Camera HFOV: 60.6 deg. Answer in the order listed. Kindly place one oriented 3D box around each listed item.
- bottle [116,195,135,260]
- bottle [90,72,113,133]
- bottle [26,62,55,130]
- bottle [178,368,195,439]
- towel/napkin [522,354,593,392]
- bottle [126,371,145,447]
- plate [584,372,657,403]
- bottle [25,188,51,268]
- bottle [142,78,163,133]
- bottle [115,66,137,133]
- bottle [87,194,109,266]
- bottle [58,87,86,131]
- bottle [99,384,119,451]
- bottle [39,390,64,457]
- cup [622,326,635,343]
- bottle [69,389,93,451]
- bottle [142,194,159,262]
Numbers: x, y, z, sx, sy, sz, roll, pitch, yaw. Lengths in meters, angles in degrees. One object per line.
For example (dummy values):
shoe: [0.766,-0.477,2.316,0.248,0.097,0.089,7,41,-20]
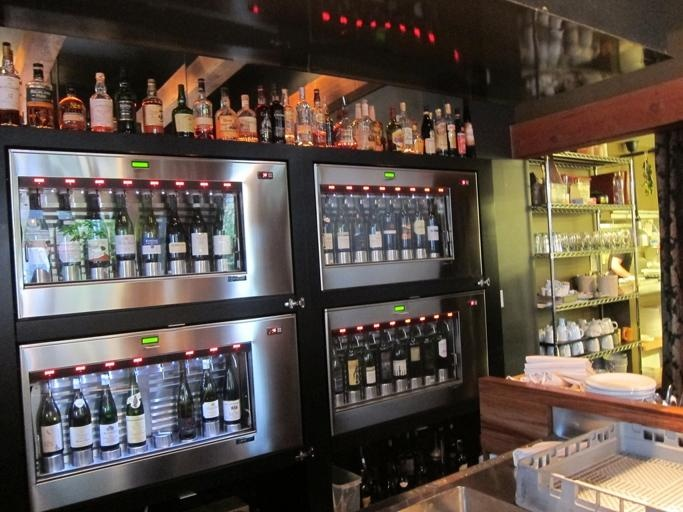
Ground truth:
bottle: [-1.003,-0.133,2.703,0.084,0.294,0.103,-5,3,-19]
bottle: [-1.112,-0.716,2.702,0.102,0.272,0.220,-6,3,-23]
bottle: [-1.333,-0.699,2.589,0.112,0.303,0.255,-6,3,-27]
bottle: [-0.739,0.692,2.771,0.083,0.317,0.076,-5,2,0]
towel/napkin: [0.965,0.521,2.607,0.295,0.112,0.244,-4,3,15]
bottle: [-0.936,0.697,2.654,0.081,0.323,0.066,-6,3,-20]
plate: [1.142,0.552,2.414,0.264,0.074,0.284,-3,4,30]
bottle: [-1.316,-0.107,2.533,0.106,0.365,0.045,-7,3,-37]
bottle: [-0.910,-0.712,2.813,0.093,0.241,0.193,-5,3,-18]
bottle: [-1.004,-0.723,2.726,0.093,0.295,0.192,-6,3,-20]
bottle: [-1.109,-0.115,2.653,0.083,0.319,0.062,-6,3,-25]
bottle: [-1.231,-0.673,2.686,0.119,0.212,0.335,-6,3,-25]
bottle: [-1.041,0.713,2.614,0.084,0.299,0.080,-5,3,0]
bottle: [-1.239,0.708,2.501,0.103,0.302,0.066,-7,3,-43]
cup: [2.545,0.694,5.220,0.107,0.117,0.113,2,-9,0]
bottle: [-1.141,0.719,2.568,0.097,0.261,0.081,-6,3,-30]
bottle: [-0.901,-0.126,2.752,0.086,0.285,0.083,-5,3,0]
